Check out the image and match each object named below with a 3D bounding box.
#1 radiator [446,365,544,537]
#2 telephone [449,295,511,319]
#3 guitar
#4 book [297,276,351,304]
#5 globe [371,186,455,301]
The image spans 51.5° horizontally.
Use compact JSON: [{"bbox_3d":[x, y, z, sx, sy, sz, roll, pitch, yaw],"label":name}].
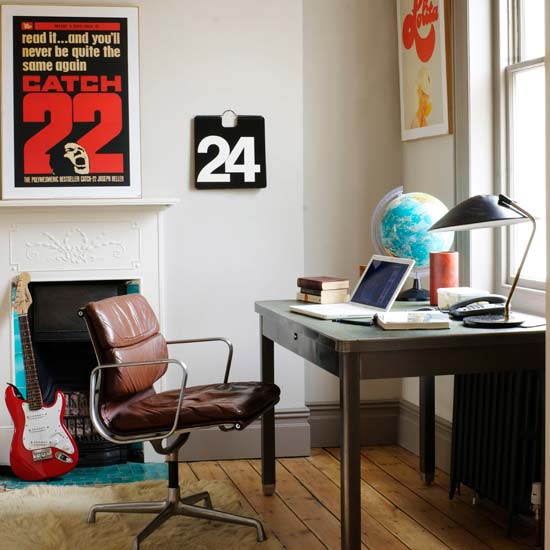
[{"bbox_3d":[0.864,0.644,2.224,0.212,0.515,0.458,3,9,6],"label":"radiator"},{"bbox_3d":[0.737,0.110,2.027,0.159,0.062,0.094,-2,4,-10],"label":"telephone"},{"bbox_3d":[-1.231,0.512,2.871,0.282,1.006,0.382,-9,12,-36],"label":"guitar"},{"bbox_3d":[0.217,0.056,2.491,0.169,0.115,0.200,-2,12,-30],"label":"book"},{"bbox_3d":[0.639,-0.141,2.618,0.354,0.493,0.302,4,14,26],"label":"globe"}]
